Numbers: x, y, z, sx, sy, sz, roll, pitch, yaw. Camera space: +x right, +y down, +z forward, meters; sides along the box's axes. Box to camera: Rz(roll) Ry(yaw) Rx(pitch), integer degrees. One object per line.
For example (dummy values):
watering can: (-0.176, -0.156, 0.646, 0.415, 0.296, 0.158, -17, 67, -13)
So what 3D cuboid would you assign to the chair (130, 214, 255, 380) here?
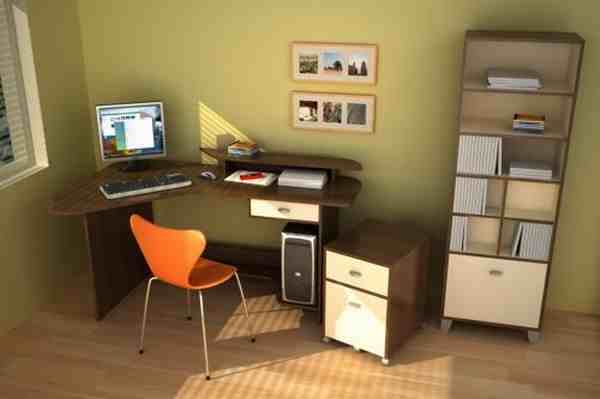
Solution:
chair: (-0.870, 0.695, 3.968, 0.782, 1.175, 0.769, 8, 15, 21)

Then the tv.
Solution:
tv: (-1.503, -0.571, 4.366, 0.621, 0.629, 0.272, -3, 16, -8)

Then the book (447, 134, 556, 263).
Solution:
book: (1.627, -0.043, 3.874, 0.804, 0.936, 0.423, 8, 19, 16)

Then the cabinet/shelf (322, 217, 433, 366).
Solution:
cabinet/shelf: (0.623, 0.720, 3.985, 0.731, 0.909, 0.688, 12, 20, 27)

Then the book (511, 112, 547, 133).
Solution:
book: (1.747, -0.581, 3.705, 0.214, 0.118, 0.200, 9, 19, 20)

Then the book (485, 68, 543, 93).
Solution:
book: (1.613, -0.905, 3.663, 0.379, 0.146, 0.335, 9, 18, 19)

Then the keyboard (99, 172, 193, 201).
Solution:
keyboard: (-1.298, -0.116, 4.119, 0.746, 0.129, 0.336, -4, 18, -20)

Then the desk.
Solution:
desk: (-0.807, -0.031, 4.415, 2.445, 1.346, 1.552, 4, 18, 16)

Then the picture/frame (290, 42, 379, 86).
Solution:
picture/frame: (0.280, -1.167, 4.170, 0.741, 0.341, 0.027, 5, 13, 17)
